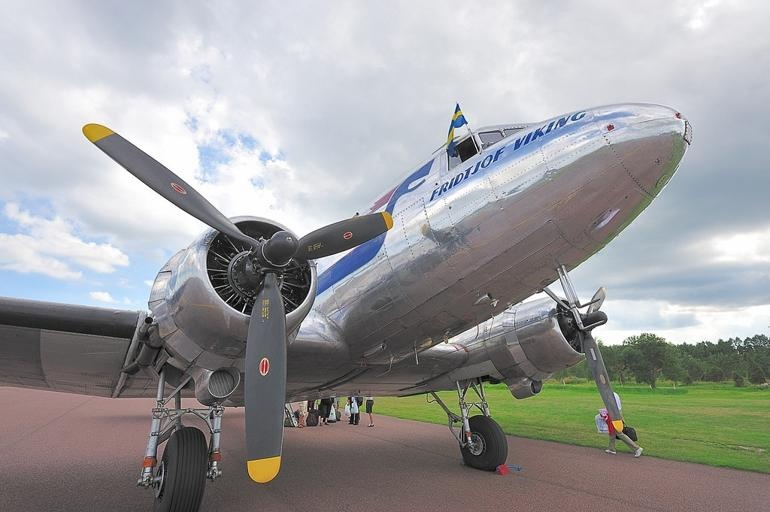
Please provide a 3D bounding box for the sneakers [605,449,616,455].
[{"bbox_3d":[5.960,5.246,12.276,0.265,0.115,0.106,5,1,32],"label":"sneakers"}]

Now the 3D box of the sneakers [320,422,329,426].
[{"bbox_3d":[-2.406,6.662,18.151,0.344,0.134,0.118,-8,-9,32],"label":"sneakers"}]
